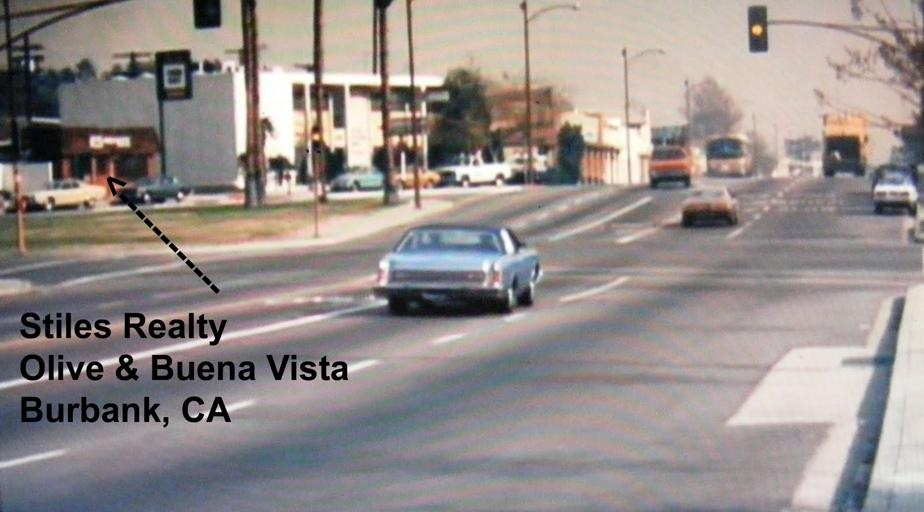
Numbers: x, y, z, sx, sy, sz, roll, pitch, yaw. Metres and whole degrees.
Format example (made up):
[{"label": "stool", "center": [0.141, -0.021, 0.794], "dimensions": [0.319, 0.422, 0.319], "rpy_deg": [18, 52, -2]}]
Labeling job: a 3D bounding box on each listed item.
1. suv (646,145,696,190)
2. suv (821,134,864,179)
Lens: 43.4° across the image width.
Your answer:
[{"label": "suv", "center": [11.581, -5.029, 64.597], "dimensions": [2.259, 2.220, 3.256], "rpy_deg": [0, 12, 5]}, {"label": "suv", "center": [26.928, -7.797, 81.765], "dimensions": [2.282, 2.438, 4.304], "rpy_deg": [-9, 25, 19]}]
